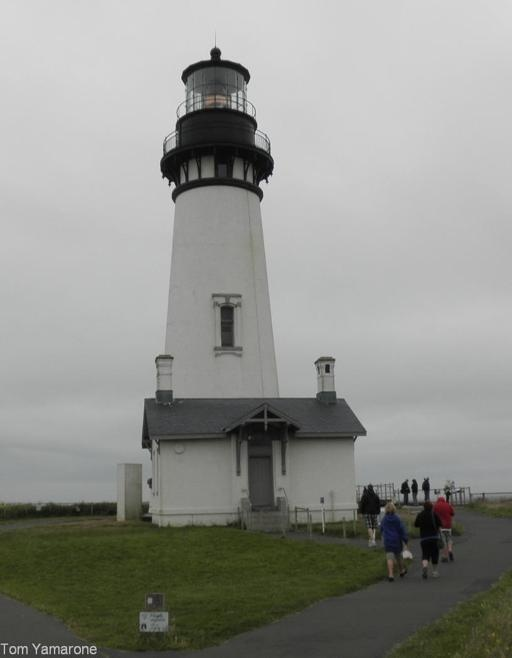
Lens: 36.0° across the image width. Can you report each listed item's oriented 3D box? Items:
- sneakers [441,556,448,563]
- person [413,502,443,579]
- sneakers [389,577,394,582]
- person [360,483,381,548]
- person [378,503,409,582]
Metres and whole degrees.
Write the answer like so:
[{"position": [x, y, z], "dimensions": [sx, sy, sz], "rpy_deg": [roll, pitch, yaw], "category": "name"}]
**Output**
[{"position": [4.445, 5.481, 18.684], "dimensions": [0.099, 0.223, 0.189], "rpy_deg": [10, -12, -36], "category": "sneakers"}, {"position": [3.674, 4.486, 16.853], "dimensions": [0.501, 1.491, 2.128], "rpy_deg": [-4, -12, 11], "category": "person"}, {"position": [2.704, 5.016, 15.760], "dimensions": [0.098, 0.126, 0.098], "rpy_deg": [0, -11, 0], "category": "sneakers"}, {"position": [3.150, 5.073, 21.602], "dimensions": [0.428, 1.637, 0.501], "rpy_deg": [-3, 2, 3], "category": "person"}, {"position": [2.848, 4.410, 16.414], "dimensions": [0.521, 1.532, 1.538], "rpy_deg": [-3, -11, 9], "category": "person"}]
